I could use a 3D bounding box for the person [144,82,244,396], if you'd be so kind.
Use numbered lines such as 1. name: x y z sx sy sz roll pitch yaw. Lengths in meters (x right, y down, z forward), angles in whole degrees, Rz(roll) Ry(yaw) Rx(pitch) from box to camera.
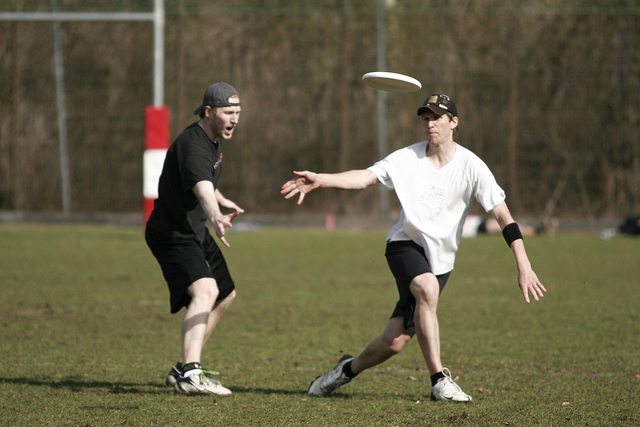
1. person: -1.581 0.311 13.943 1.057 3.834 0.841 2 5 -6

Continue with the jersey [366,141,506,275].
1. jersey: 1.403 -0.105 14.322 1.842 1.607 0.758 8 4 20

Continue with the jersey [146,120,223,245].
1. jersey: -1.695 -0.430 14.368 0.717 1.535 1.398 13 11 4
